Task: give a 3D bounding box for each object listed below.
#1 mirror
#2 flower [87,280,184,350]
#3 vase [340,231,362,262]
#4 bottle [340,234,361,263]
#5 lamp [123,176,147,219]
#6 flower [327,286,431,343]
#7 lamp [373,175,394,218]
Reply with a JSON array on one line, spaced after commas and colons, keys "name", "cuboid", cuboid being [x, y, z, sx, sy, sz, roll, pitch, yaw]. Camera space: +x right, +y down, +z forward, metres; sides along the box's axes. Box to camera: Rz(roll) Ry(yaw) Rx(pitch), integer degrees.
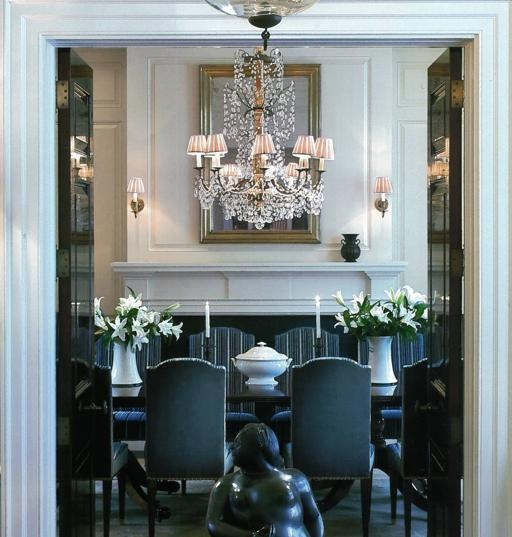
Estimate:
[{"name": "mirror", "cuboid": [0.028, -0.793, 5.438, 0.873, 1.695, 0.052, -1, -2, -2]}, {"name": "flower", "cuboid": [-0.590, 0.276, 4.115, 0.391, 0.287, 0.398, 6, -3, 43]}, {"name": "vase", "cuboid": [0.628, -0.151, 5.594, 0.134, 0.256, 0.160, 2, 4, 6]}, {"name": "bottle", "cuboid": [0.626, -0.152, 5.614, 0.135, 0.257, 0.161, 2, 5, 7]}, {"name": "lamp", "cuboid": [-0.824, -0.497, 5.748, 0.119, 0.283, 0.178, -1, 0, -10]}, {"name": "flower", "cuboid": [0.674, 0.226, 4.079, 0.363, 0.254, 0.384, 2, 1, 38]}, {"name": "lamp", "cuboid": [0.865, -0.496, 5.728, 0.115, 0.269, 0.205, -1, 0, 8]}]
